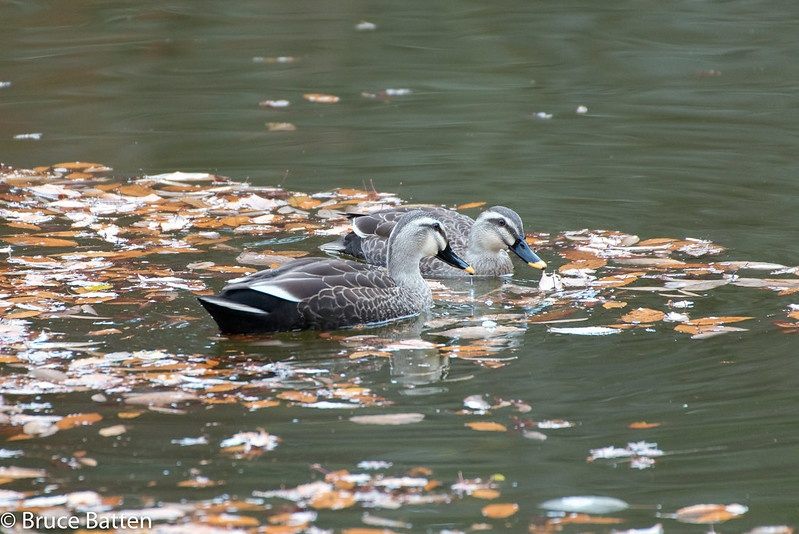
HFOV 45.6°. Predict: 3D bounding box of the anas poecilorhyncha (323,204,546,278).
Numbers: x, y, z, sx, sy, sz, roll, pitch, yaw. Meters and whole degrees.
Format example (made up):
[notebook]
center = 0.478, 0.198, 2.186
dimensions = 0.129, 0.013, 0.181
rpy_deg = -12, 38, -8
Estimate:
[anas poecilorhyncha]
center = 0.084, -0.359, 11.575
dimensions = 1.646, 0.385, 0.706
rpy_deg = 18, 33, 38
